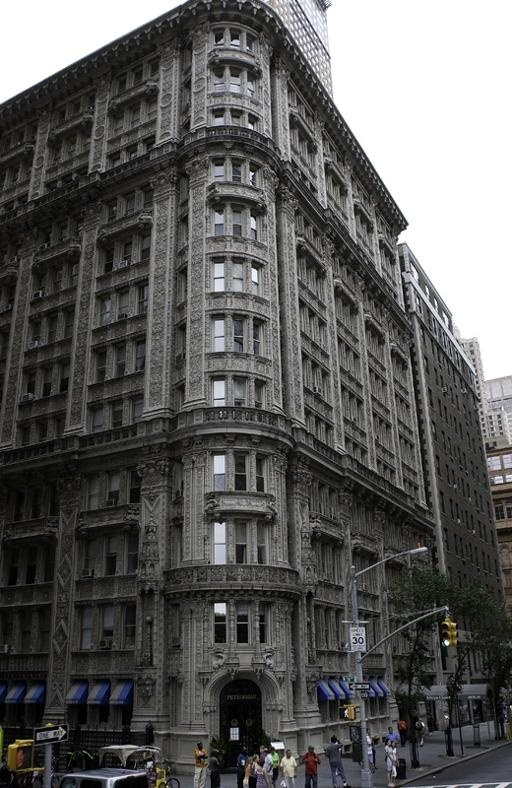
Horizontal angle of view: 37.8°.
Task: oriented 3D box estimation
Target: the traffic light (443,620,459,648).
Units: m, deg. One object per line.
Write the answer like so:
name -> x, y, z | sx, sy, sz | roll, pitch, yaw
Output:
traffic light -> 7.254, 8.913, 28.211 | 0.503, 1.034, 1.024 | -7, -26, 11

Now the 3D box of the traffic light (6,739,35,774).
traffic light -> -7.352, 11.332, 23.494 | 0.744, 0.927, 2.490 | 6, -26, -15
